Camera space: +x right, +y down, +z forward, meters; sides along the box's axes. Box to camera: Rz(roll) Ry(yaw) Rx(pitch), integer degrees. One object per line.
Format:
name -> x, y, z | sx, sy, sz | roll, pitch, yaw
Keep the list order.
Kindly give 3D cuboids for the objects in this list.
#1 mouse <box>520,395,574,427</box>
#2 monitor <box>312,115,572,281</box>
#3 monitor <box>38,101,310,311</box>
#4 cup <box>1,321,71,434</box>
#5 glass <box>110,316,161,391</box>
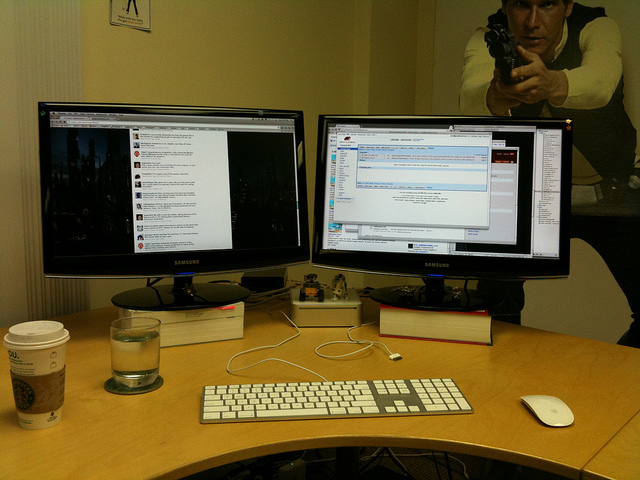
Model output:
mouse -> 0.525, 0.384, 1.245 | 0.095, 0.030, 0.135 | 3, 11, -2
monitor -> 0.387, -0.137, 1.619 | 0.536, 0.338, 0.136 | 2, -4, 4
monitor -> -0.413, -0.103, 1.617 | 0.818, 0.547, 0.219 | -5, 12, -38
cup -> -0.638, 0.277, 1.217 | 0.133, 0.215, 0.247 | -10, 15, -28
glass -> -0.467, 0.294, 1.338 | 0.126, 0.149, 0.150 | -3, -5, -31
